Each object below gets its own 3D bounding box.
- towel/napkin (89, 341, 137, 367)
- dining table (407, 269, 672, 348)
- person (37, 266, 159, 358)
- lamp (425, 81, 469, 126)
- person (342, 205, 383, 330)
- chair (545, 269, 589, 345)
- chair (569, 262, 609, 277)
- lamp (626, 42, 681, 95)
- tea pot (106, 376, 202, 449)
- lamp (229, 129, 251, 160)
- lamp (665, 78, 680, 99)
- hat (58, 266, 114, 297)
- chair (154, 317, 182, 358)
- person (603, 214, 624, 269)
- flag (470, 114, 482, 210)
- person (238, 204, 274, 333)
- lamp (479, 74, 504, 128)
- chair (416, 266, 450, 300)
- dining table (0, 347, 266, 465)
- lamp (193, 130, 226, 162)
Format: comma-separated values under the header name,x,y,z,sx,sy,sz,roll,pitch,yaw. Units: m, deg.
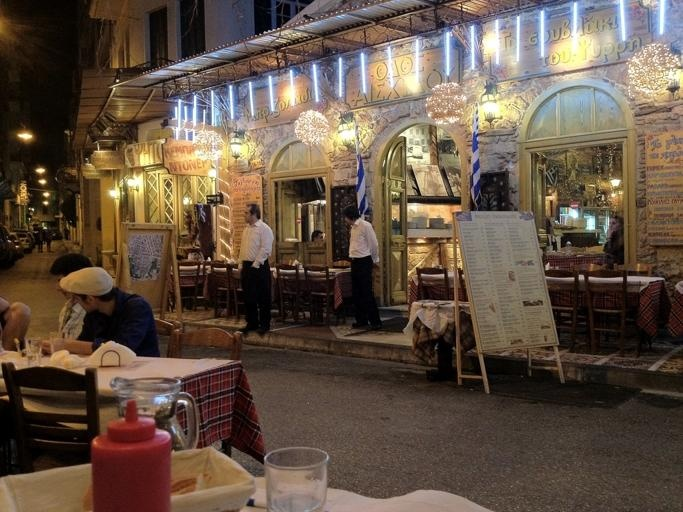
name,x,y,z,sx,sy,sz,roll,pitch,yaw
towel/napkin,-1.459,0.637,3.728,0.200,0.119,0.156,-2,5,-15
dining table,2.918,0.746,8.693,4.218,1.076,3.827,-1,-3,1
person,-1.745,0.473,4.320,0.808,0.852,0.601,-10,8,-35
lamp,1.928,-2.709,10.753,0.679,0.796,0.738,2,0,14
person,0.364,0.183,10.160,0.571,2.165,0.442,-1,-3,2
chair,3.196,0.734,8.447,0.662,1.116,0.723,2,2,26
chair,3.663,0.192,8.783,0.377,0.235,0.503,4,6,33
lamp,4.708,-2.919,8.945,0.690,0.813,0.638,-3,-3,29
tea pot,-0.525,0.513,1.674,0.250,0.284,0.180,5,-14,-37
lamp,-2.600,-2.868,14.900,0.430,0.767,0.380,-3,-4,40
lamp,5.018,-2.556,8.934,0.237,0.325,0.234,-7,11,-42
hat,-1.828,0.212,4.187,0.289,0.132,0.221,7,22,7
chair,-1.324,0.674,4.703,0.175,0.259,0.182,-8,-22,-1
person,4.618,-0.291,10.038,0.274,0.959,1.043,-2,-3,23
flag,2.447,-1.776,10.808,0.191,1.839,0.443,-2,-3,12
person,-1.456,0.221,9.989,0.517,2.193,0.531,0,-3,-12
lamp,2.670,-2.845,10.726,0.336,0.906,0.320,1,-4,-38
chair,1.386,0.419,8.994,0.405,0.748,0.482,4,8,34
dining table,-0.952,0.893,3.593,1.071,0.600,1.015,-3,-4,26
lamp,-3.293,-2.749,14.535,0.755,0.869,0.360,2,-1,6
